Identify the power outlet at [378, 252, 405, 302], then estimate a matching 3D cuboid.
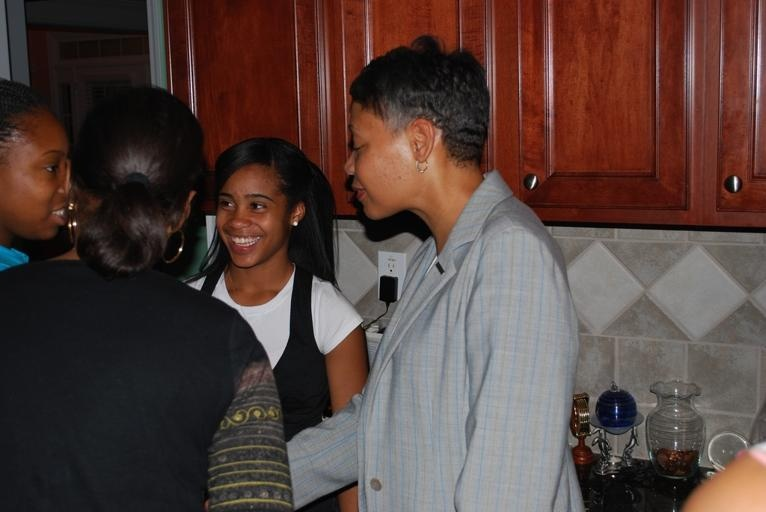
[{"bbox_3d":[0.023,0.080,2.644,0.102,0.177,0.017,5,-4,-20],"label":"power outlet"}]
